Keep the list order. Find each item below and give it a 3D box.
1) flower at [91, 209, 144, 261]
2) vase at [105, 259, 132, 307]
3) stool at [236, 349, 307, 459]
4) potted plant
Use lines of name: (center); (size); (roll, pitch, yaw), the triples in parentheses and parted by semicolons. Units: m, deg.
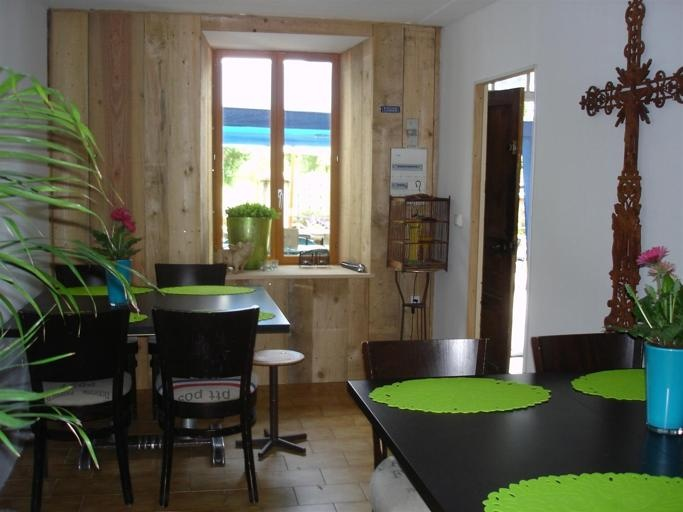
flower: (-1.243, -0.081, 3.310); (0.244, 0.312, 0.268); (-9, -8, 31)
vase: (-1.223, 0.140, 3.260); (0.165, 0.266, 0.161); (-4, -3, 37)
stool: (-0.411, 0.933, 3.848); (0.522, 0.774, 0.558); (0, 1, -4)
potted plant: (-0.811, -0.166, 4.977); (0.480, 0.545, 0.452); (1, -1, -36)
